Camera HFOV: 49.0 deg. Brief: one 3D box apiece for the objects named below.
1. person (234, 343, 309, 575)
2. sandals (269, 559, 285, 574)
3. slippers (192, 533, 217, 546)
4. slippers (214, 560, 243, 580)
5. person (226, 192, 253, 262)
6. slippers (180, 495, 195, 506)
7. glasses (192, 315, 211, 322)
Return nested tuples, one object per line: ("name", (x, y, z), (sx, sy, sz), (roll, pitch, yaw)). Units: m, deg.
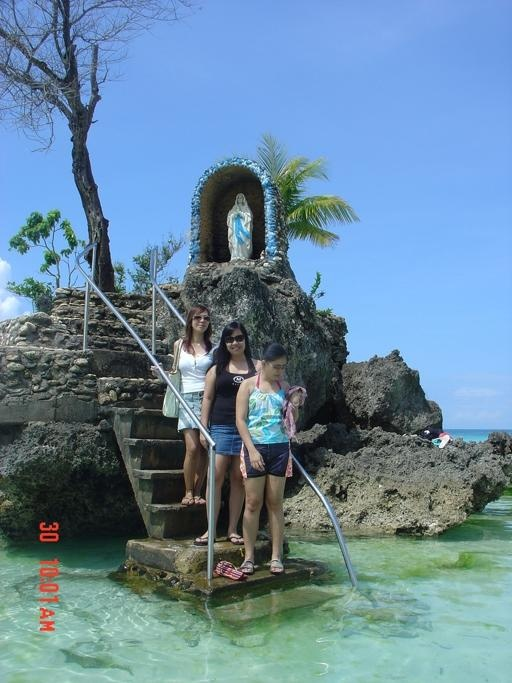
("person", (0.094, 0.844, 4.022), (0.504, 1.616, 0.476), (4, -11, -21))
("sandals", (0.151, 1.627, 4.070), (0.091, 0.075, 0.251), (-2, -17, 3))
("slippers", (-0.398, 1.535, 4.389), (0.142, 0.085, 0.239), (-5, -16, 23))
("slippers", (-0.194, 1.585, 3.887), (0.238, 0.095, 0.115), (-8, -13, 37))
("person", (-0.331, -2.426, 11.758), (0.467, 1.568, 0.577), (7, -12, -31))
("slippers", (-0.575, 1.337, 4.741), (0.102, 0.065, 0.234), (0, -11, -4))
("glasses", (-0.466, -0.202, 4.866), (0.144, 0.062, 0.059), (6, -12, -29))
